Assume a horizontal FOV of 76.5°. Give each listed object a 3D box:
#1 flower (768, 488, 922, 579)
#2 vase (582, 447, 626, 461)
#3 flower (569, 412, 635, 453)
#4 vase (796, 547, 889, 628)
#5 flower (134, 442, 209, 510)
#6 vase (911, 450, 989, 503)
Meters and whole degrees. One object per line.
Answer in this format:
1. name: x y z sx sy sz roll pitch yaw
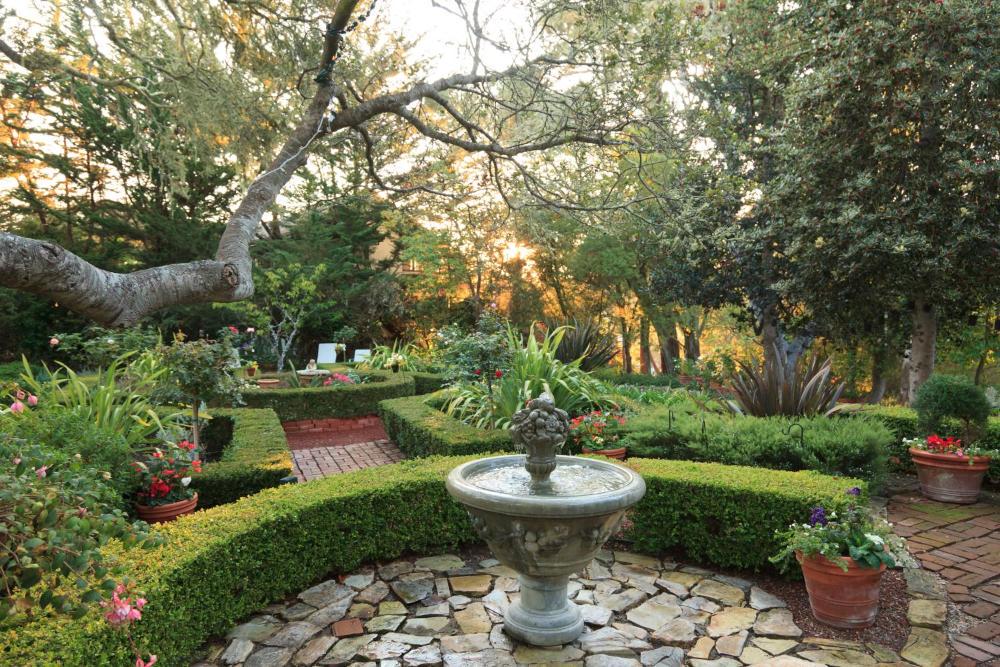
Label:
1. flower: 3.028 1.789 5.668 1.001 0.709 1.050 0 -9 3
2. vase: 1.290 1.493 7.679 0.533 0.169 0.552 -1 2 7
3. flower: 1.262 1.305 8.055 0.730 0.449 0.709 -1 3 6
4. vase: 3.084 2.323 5.691 0.752 0.530 0.753 0 -15 20
5. flower: -3.437 1.470 6.585 0.647 0.508 0.585 1 -4 26
6. vase: 5.399 1.710 7.632 0.717 0.415 0.685 1 -7 3
